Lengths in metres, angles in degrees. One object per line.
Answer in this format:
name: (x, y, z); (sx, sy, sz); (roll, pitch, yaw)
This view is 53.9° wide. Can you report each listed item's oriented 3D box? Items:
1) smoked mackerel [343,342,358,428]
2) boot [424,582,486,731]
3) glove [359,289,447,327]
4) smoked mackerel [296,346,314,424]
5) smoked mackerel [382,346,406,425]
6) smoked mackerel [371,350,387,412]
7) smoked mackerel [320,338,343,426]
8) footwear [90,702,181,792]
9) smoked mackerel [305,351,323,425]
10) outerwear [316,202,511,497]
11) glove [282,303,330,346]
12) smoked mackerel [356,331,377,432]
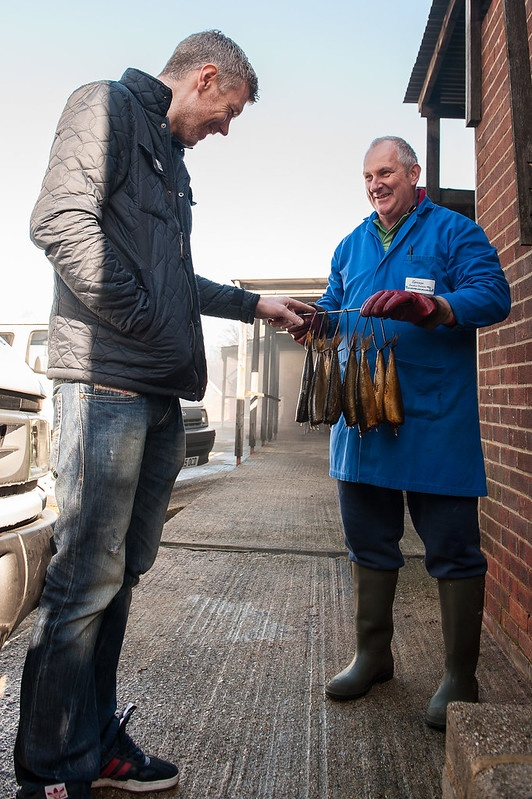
smoked mackerel: (0.326, -0.056, 1.937); (0.053, 0.325, 0.073); (-6, -25, 35)
boot: (0.658, 0.865, 1.818); (0.163, 0.478, 0.394); (1, -1, 26)
glove: (0.468, -0.295, 1.719); (0.188, 0.061, 0.146); (8, 6, -17)
smoked mackerel: (0.153, -0.042, 2.011); (0.050, 0.329, 0.113); (5, -10, 1)
smoked mackerel: (0.457, -0.043, 1.871); (0.071, 0.298, 0.107); (1, -1, 15)
smoked mackerel: (0.406, -0.051, 1.877); (0.079, 0.235, 0.040); (3, -11, 1)
smoked mackerel: (0.260, -0.069, 1.968); (0.063, 0.336, 0.131); (3, -2, 10)
footwear: (-0.340, 0.999, 1.521); (0.321, 0.242, 0.110); (3, -13, -10)
smoked mackerel: (0.186, -0.032, 1.972); (0.043, 0.267, 0.058); (3, -31, 9)
outerwear: (0.540, -0.229, 2.009); (0.708, 1.161, 0.432); (1, -1, 25)
glove: (0.173, -0.314, 2.140); (0.177, 0.067, 0.136); (24, -30, -5)
smoked mackerel: (0.350, -0.067, 1.884); (0.060, 0.360, 0.135); (7, -20, -17)
